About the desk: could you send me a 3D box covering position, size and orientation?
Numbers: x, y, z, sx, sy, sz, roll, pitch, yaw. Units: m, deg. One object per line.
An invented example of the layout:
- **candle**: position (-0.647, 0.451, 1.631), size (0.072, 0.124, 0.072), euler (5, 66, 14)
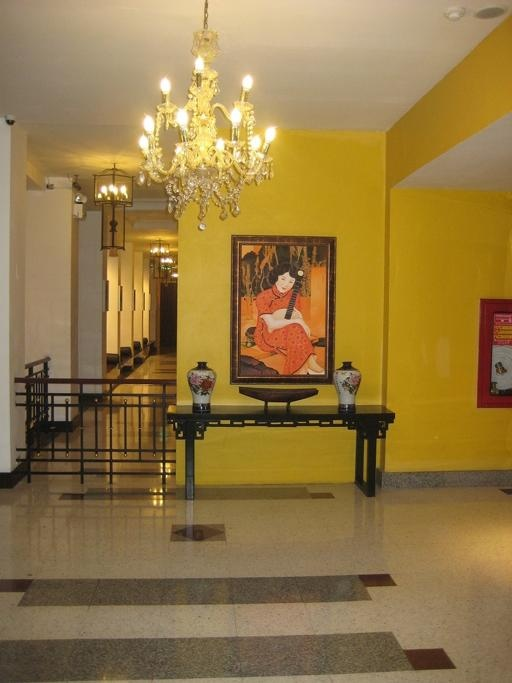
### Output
- **desk**: position (0.221, 0.982, 5.052), size (1.872, 0.767, 0.499), euler (1, 5, -8)

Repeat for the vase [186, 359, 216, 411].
- **vase**: position (-0.449, 0.377, 4.942), size (0.239, 0.401, 0.232), euler (0, 2, -23)

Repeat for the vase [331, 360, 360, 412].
- **vase**: position (0.778, 0.380, 5.040), size (0.235, 0.397, 0.237), euler (-2, -3, 32)
